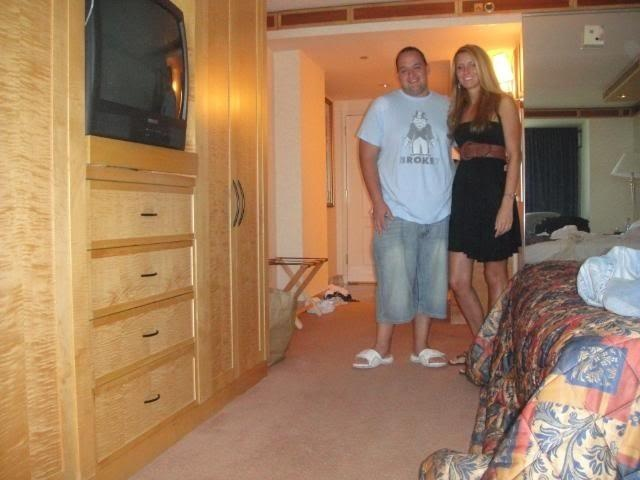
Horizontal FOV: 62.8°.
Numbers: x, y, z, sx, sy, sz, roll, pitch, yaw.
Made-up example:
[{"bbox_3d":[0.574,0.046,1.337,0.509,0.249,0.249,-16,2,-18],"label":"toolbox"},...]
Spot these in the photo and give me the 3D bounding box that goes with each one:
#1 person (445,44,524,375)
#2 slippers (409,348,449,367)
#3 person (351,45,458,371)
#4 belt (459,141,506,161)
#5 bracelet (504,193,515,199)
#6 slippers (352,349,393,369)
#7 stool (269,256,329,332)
[{"bbox_3d":[0.915,-0.248,2.918,0.389,1.602,0.247,0,4,21],"label":"person"},{"bbox_3d":[0.648,0.691,3.103,0.098,0.054,0.163,-1,-4,-28],"label":"slippers"},{"bbox_3d":[0.507,-0.059,3.046,0.540,1.595,0.259,0,4,13],"label":"person"},{"bbox_3d":[0.889,-0.484,2.860,0.244,0.096,0.090,0,5,18],"label":"belt"},{"bbox_3d":[1.023,-0.233,2.815,0.059,0.025,0.019,-3,5,-21],"label":"bracelet"},{"bbox_3d":[0.320,0.687,3.070,0.177,0.066,0.102,1,-2,-20],"label":"slippers"},{"bbox_3d":[-0.191,0.425,4.566,0.503,0.490,0.623,1,0,8],"label":"stool"}]
